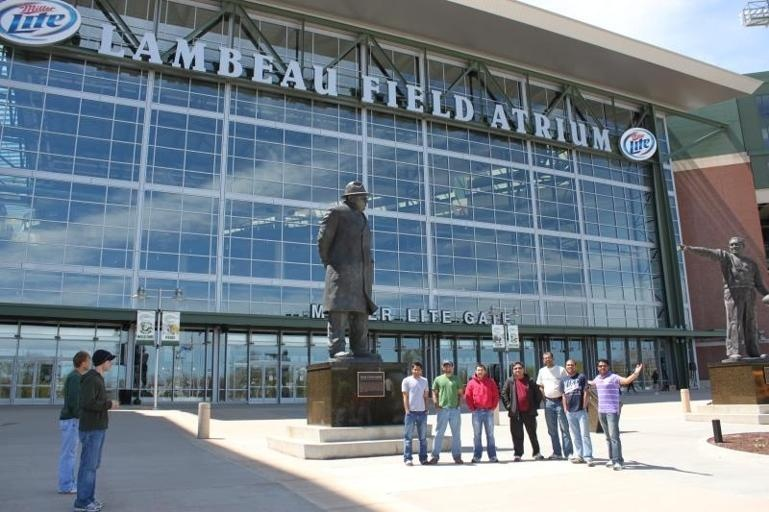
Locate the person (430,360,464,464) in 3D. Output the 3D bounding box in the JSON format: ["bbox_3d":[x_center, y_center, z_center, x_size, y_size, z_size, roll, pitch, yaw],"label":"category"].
[{"bbox_3d":[1.884,4.638,17.583,0.995,2.933,1.113,-4,-13,7],"label":"person"}]

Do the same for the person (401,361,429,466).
[{"bbox_3d":[0.910,4.607,17.347,0.789,2.868,1.002,-3,-12,2],"label":"person"}]

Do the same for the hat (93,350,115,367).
[{"bbox_3d":[-6.668,2.377,13.968,0.528,0.279,0.383,-14,14,-42],"label":"hat"}]

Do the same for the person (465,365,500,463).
[{"bbox_3d":[3.044,4.765,18.016,1.027,2.818,1.518,-4,-13,10],"label":"person"}]
